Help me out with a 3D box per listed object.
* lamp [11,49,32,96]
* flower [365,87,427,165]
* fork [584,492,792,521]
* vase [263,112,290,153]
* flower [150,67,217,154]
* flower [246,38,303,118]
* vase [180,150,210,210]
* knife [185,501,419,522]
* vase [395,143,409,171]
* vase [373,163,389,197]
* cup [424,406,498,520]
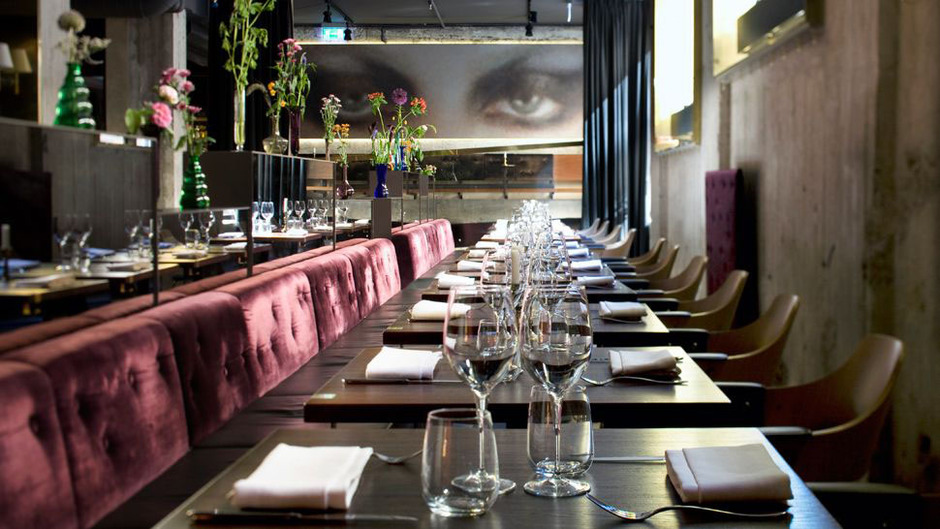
[{"bbox_3d":[-3.872,-1.671,5.993,0.151,0.402,0.146,0,5,-39],"label":"lamp"},{"bbox_3d":[-1.018,-1.742,9.227,0.812,1.035,0.699,3,-10,-37],"label":"flower"},{"bbox_3d":[0.700,0.753,2.162,0.611,0.069,0.064,0,11,1],"label":"fork"},{"bbox_3d":[-1.456,-0.974,5.201,0.224,0.296,0.222,0,16,-13],"label":"vase"},{"bbox_3d":[-1.729,-0.854,4.222,0.241,0.510,0.234,-21,6,18],"label":"flower"},{"bbox_3d":[-1.476,-1.410,5.325,0.379,0.604,0.600,11,12,23],"label":"flower"},{"bbox_3d":[-1.706,-0.523,4.310,0.177,0.363,0.504,1,4,-21],"label":"vase"},{"bbox_3d":[-0.506,0.765,2.155,0.665,0.033,0.051,1,10,-1],"label":"knife"},{"bbox_3d":[-0.865,-1.355,8.712,0.141,0.333,0.210,3,4,0],"label":"vase"},{"bbox_3d":[-0.965,-0.918,7.557,0.157,0.383,0.457,2,4,-9],"label":"vase"},{"bbox_3d":[-0.052,0.609,2.177,0.296,0.304,0.295,-1,-4,0],"label":"cup"}]
